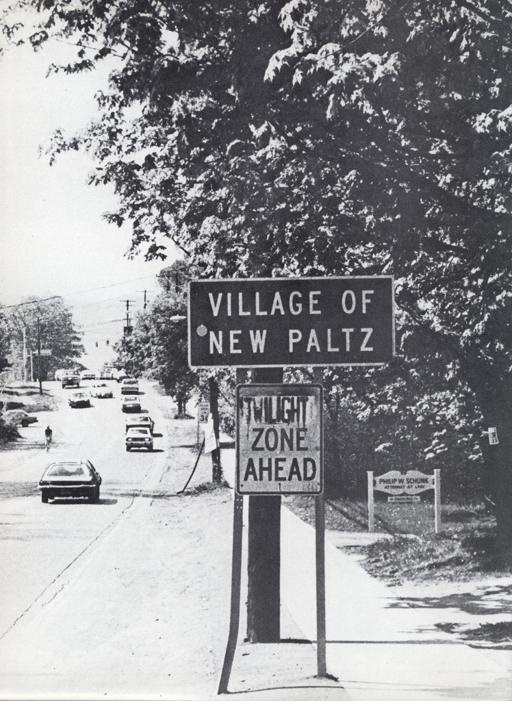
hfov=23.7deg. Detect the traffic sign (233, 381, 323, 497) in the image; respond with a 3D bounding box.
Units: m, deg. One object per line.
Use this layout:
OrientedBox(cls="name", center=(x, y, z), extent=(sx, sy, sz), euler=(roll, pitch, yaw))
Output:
OrientedBox(cls="traffic sign", center=(0.179, 0.727, 9.814), extent=(0.577, 1.121, 0.097), euler=(0, -3, 1))
